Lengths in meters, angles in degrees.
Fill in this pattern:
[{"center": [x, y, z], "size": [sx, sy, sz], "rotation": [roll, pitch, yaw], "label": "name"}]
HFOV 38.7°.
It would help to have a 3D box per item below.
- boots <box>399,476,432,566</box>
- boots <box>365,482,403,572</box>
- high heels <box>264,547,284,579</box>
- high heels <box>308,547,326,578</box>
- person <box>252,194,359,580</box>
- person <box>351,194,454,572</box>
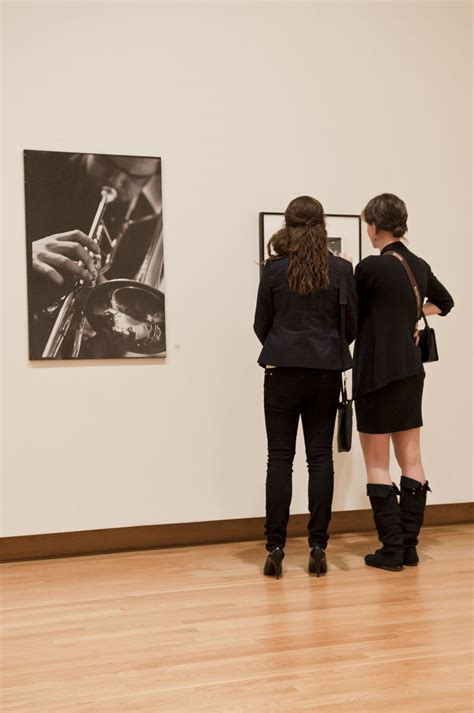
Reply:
[{"center": [0.806, 0.747, 3.152], "size": [0.189, 0.428, 0.189], "rotation": [6, -1, -44], "label": "boots"}, {"center": [0.665, 0.771, 3.067], "size": [0.219, 0.378, 0.151], "rotation": [-9, -19, 43], "label": "boots"}, {"center": [0.155, 0.872, 2.823], "size": [0.056, 0.085, 0.165], "rotation": [-1, -4, -5], "label": "high heels"}, {"center": [0.343, 0.875, 2.852], "size": [0.050, 0.070, 0.145], "rotation": [-3, 4, 3], "label": "high heels"}, {"center": [0.250, 0.120, 2.883], "size": [0.439, 1.601, 0.402], "rotation": [0, 4, -5], "label": "person"}, {"center": [0.684, 0.115, 3.092], "size": [0.424, 1.618, 0.409], "rotation": [1, 6, -8], "label": "person"}]
